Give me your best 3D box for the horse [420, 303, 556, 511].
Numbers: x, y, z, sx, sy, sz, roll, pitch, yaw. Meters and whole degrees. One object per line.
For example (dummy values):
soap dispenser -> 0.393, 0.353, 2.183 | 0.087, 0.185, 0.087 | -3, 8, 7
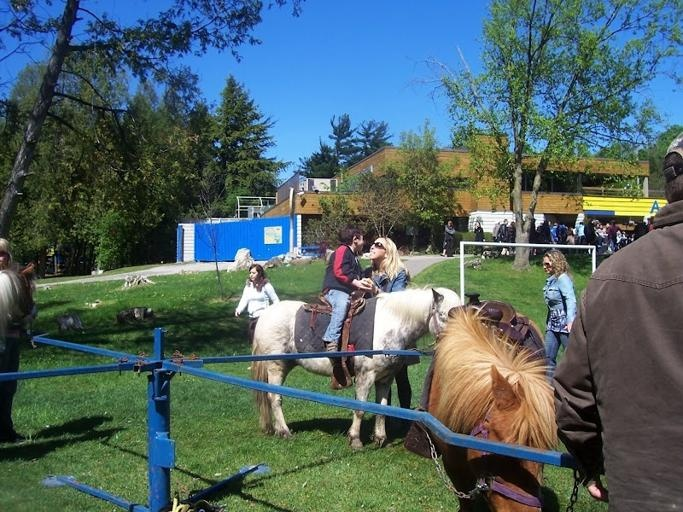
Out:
horse -> 1.067, 1.158, 4.133 | 0.697, 1.233, 1.281 | 2, -1, -8

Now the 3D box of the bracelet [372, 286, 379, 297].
bracelet -> 0.405, 0.427, 7.137 | 0.071, 0.110, 0.030 | 16, 23, 25

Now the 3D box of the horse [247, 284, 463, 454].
horse -> 0.072, 1.246, 7.077 | 2.372, 2.025, 0.810 | 5, 8, 12

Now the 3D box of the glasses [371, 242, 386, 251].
glasses -> 0.457, -0.127, 7.315 | 0.148, 0.082, 0.104 | 2, -1, 5
